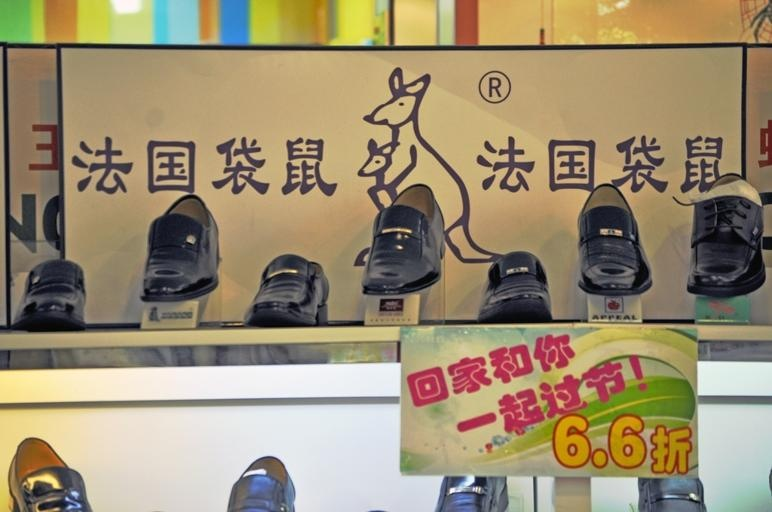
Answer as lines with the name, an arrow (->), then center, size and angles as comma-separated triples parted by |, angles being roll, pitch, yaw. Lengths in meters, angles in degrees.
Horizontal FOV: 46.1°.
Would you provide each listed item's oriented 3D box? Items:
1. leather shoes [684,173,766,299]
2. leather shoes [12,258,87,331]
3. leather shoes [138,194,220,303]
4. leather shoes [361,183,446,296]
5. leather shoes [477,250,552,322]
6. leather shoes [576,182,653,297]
leather shoes -> 0.897, -0.044, 2.380 | 0.151, 0.352, 0.149 | -3, -46, 25
leather shoes -> -0.844, 0.095, 2.268 | 0.109, 0.121, 0.266 | 1, -9, -11
leather shoes -> -0.533, -0.026, 2.367 | 0.147, 0.317, 0.120 | 2, -54, -3
leather shoes -> 0.091, -0.037, 2.535 | 0.162, 0.141, 0.411 | 10, -1, 28
leather shoes -> 0.345, 0.106, 2.472 | 0.173, 0.216, 0.486 | -1, -5, 6
leather shoes -> 0.598, -0.042, 2.387 | 0.155, 0.346, 0.132 | -5, -63, 10
